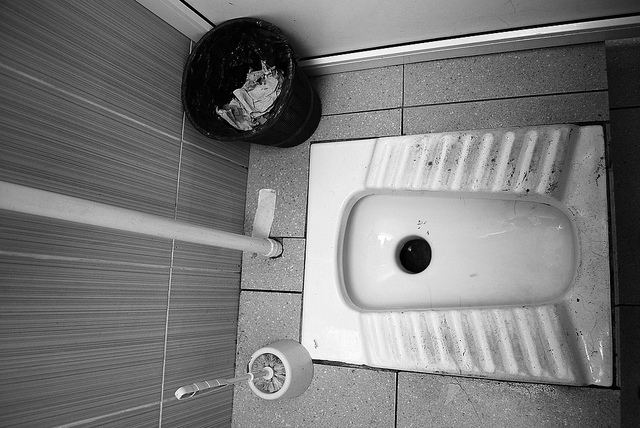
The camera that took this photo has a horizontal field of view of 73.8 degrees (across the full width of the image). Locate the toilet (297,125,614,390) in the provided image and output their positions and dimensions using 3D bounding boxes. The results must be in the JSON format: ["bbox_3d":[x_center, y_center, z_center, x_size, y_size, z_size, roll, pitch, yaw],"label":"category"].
[{"bbox_3d":[0.512,0.172,1.728,1.021,0.883,0.400,-1,-3,24],"label":"toilet"}]
